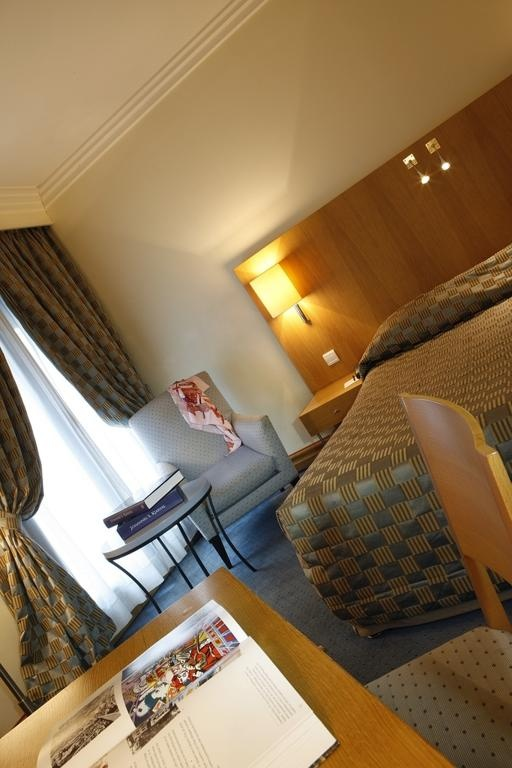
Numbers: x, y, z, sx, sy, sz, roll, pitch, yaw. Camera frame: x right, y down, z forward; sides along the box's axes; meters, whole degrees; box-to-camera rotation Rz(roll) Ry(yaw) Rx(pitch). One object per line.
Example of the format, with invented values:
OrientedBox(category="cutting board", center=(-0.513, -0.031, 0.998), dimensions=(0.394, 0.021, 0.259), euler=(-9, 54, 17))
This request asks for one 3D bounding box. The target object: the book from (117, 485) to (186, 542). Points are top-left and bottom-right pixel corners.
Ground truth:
OrientedBox(category="book", center=(-0.440, 0.550, 2.200), dimensions=(0.220, 0.052, 0.214), euler=(-30, -2, 24))

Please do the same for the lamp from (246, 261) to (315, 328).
OrientedBox(category="lamp", center=(0.151, -0.553, 3.401), dimensions=(0.233, 0.433, 0.142), euler=(-35, 3, 4))

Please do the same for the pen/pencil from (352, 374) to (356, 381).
OrientedBox(category="pen/pencil", center=(0.600, -0.035, 3.254), dimensions=(0.012, 0.011, 0.048), euler=(-38, -30, -11))

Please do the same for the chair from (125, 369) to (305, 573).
OrientedBox(category="chair", center=(-0.222, 0.443, 3.056), dimensions=(0.716, 0.892, 0.808), euler=(-32, 6, -1))

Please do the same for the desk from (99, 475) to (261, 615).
OrientedBox(category="desk", center=(-0.348, 0.776, 2.473), dimensions=(0.501, 0.569, 0.526), euler=(-7, 33, 45))
